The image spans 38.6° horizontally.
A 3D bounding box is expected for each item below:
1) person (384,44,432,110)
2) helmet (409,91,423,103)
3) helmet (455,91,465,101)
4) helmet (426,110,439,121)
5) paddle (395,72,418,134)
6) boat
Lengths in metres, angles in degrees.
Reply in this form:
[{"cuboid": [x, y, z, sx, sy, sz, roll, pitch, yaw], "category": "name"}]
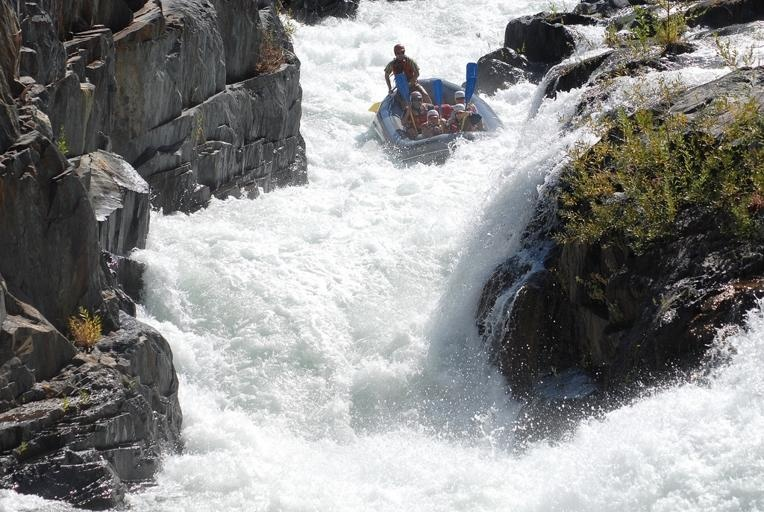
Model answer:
[{"cuboid": [0.455, -3.154, 20.302, 0.609, 1.547, 0.797, -10, 22, 14], "category": "person"}, {"cuboid": [0.612, -2.831, 19.575, 0.149, 0.191, 0.219, -20, -8, -8], "category": "helmet"}, {"cuboid": [1.406, -2.850, 19.505, 0.136, 0.174, 0.204, 0, 7, -2], "category": "helmet"}, {"cuboid": [0.907, -2.474, 19.137, 0.203, 0.182, 0.245, 7, 28, 1], "category": "helmet"}, {"cuboid": [0.424, -2.896, 19.782, 0.242, 1.487, 0.178, -15, -14, 6], "category": "paddle"}, {"cuboid": [0.785, -2.242, 19.393, 2.419, 0.992, 1.659, 29, 35, 33], "category": "boat"}]
